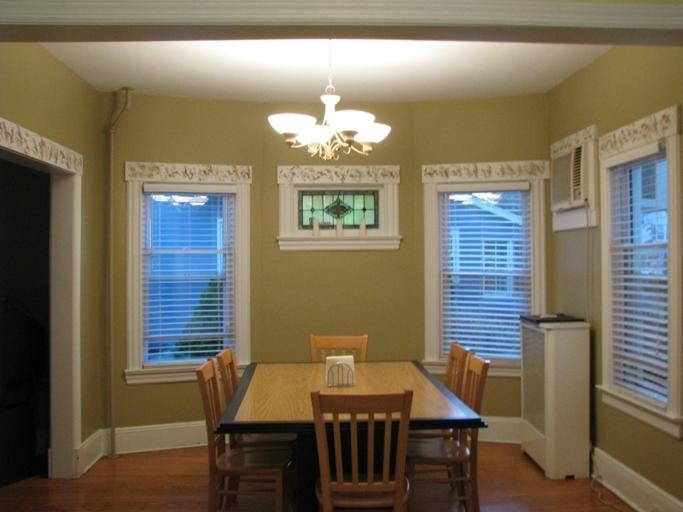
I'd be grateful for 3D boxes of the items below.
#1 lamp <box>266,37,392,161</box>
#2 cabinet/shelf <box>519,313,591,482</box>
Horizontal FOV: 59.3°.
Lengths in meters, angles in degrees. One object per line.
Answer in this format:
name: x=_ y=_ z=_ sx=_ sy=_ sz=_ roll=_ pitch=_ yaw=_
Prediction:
lamp: x=-0.093 y=-1.176 z=4.383 sx=0.874 sy=0.970 sz=0.914 roll=1 pitch=4 yaw=-13
cabinet/shelf: x=1.782 y=1.117 z=4.953 sx=0.449 sy=1.211 sz=0.596 roll=0 pitch=8 yaw=1
